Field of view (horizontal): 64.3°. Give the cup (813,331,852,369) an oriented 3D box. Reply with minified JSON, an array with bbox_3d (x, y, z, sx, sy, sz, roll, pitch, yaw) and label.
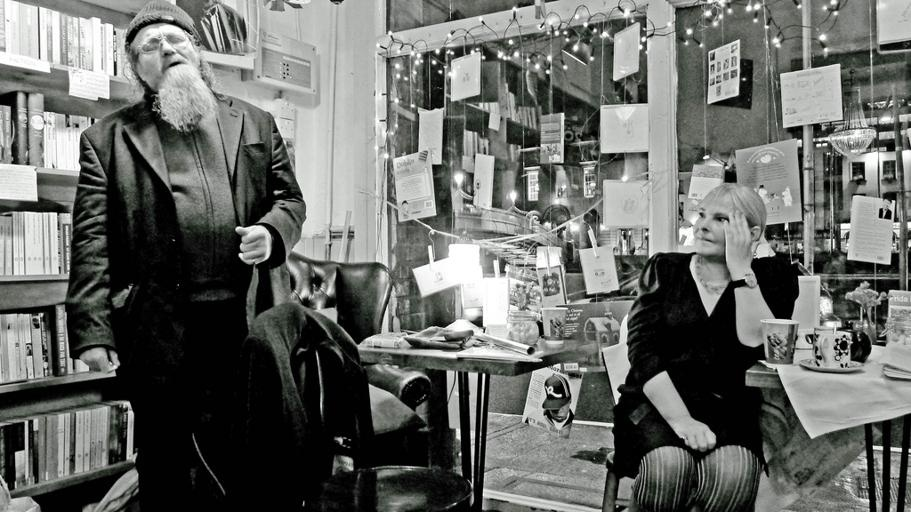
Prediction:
[{"bbox_3d":[1.910,0.477,3.639,0.154,0.143,0.201,1,-3,-17],"label":"cup"}]

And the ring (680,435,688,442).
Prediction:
[{"bbox_3d":[1.189,0.943,3.744,0.021,0.026,0.044,-1,1,-41],"label":"ring"}]

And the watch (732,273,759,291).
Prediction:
[{"bbox_3d":[1.572,0.142,3.892,0.110,0.052,0.083,-3,-2,11],"label":"watch"}]

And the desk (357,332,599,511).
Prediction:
[{"bbox_3d":[0.174,0.773,4.482,1.315,1.207,1.303,0,0,31],"label":"desk"}]

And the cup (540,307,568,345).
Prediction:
[{"bbox_3d":[0.584,0.404,4.286,0.180,0.175,0.177,1,0,0],"label":"cup"}]

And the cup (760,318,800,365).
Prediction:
[{"bbox_3d":[1.678,0.438,3.725,0.208,0.205,0.215,2,0,0],"label":"cup"}]

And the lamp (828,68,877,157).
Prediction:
[{"bbox_3d":[2.590,-0.920,4.691,0.335,0.393,0.083,-1,0,-18],"label":"lamp"}]
